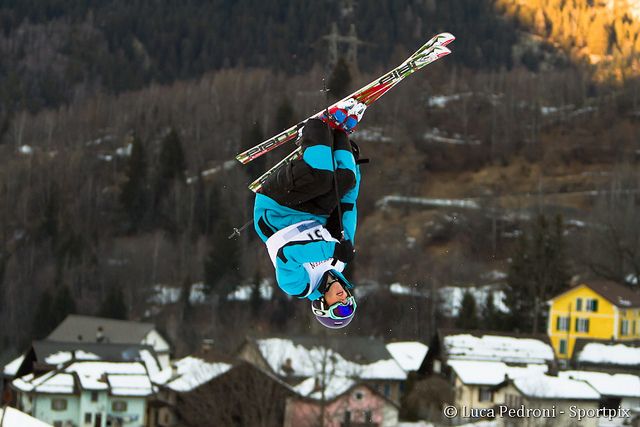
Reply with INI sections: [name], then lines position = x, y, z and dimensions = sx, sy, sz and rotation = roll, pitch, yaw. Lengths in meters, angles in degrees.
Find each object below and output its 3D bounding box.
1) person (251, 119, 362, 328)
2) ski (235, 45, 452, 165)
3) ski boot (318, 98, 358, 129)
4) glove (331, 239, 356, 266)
[person]
position = -0.065, 0.094, 21.275
dimensions = 1.519, 2.613, 0.805
rotation = -16, 1, -5
[ski]
position = 0.472, -1.585, 23.397
dimensions = 2.606, 0.303, 0.191
rotation = -36, 23, 3
[ski boot]
position = 0.240, -1.373, 21.896
dimensions = 0.509, 0.213, 0.271
rotation = -30, 23, 4
[glove]
position = 0.294, 0.485, 21.689
dimensions = 0.278, 0.259, 0.068
rotation = -7, -6, 0
